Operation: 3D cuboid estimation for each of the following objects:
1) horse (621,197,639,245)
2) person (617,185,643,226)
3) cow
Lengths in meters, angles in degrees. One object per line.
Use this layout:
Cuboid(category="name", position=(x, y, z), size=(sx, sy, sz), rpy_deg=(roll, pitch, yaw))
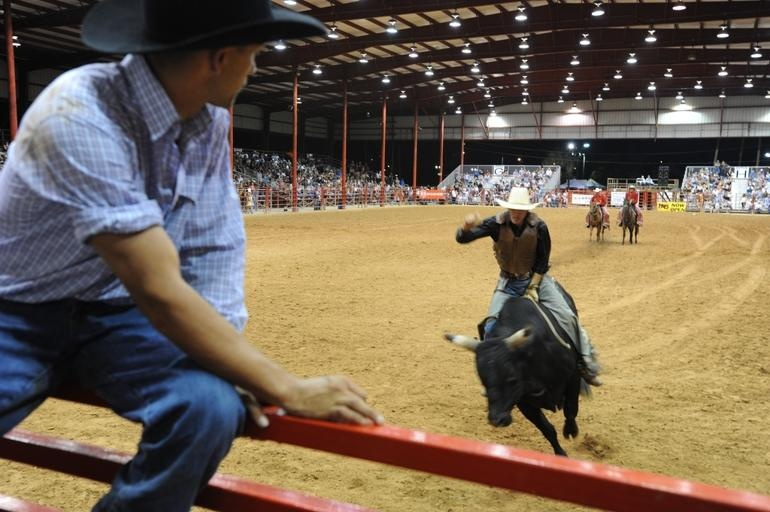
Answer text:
Cuboid(category="horse", position=(7.169, -0.999, 16.294), size=(0.421, 1.120, 1.723), rpy_deg=(-2, -8, 27))
Cuboid(category="person", position=(7.538, -1.485, 16.851), size=(0.728, 1.430, 0.510), rpy_deg=(6, -26, 15))
Cuboid(category="cow", position=(0.918, 0.864, 3.701), size=(0.480, 1.005, 1.385), rpy_deg=(11, 5, 35))
